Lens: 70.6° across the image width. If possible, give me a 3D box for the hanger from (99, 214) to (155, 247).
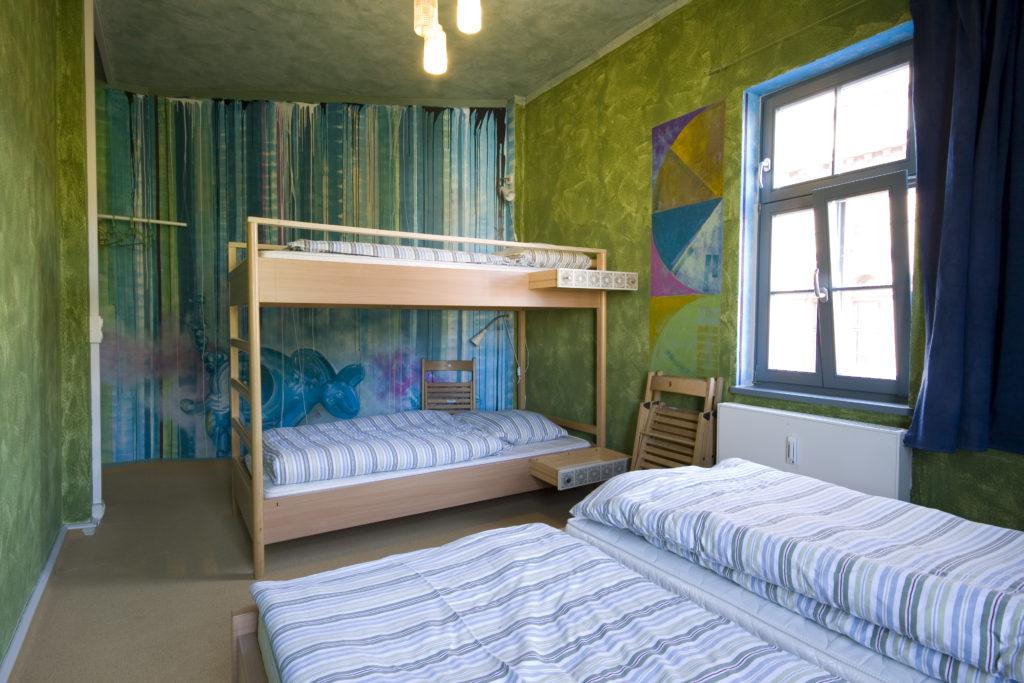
[{"bbox_3d":[-3.398,-0.971,6.346,0.307,0.208,0.014,0,1,-37],"label":"hanger"}]
